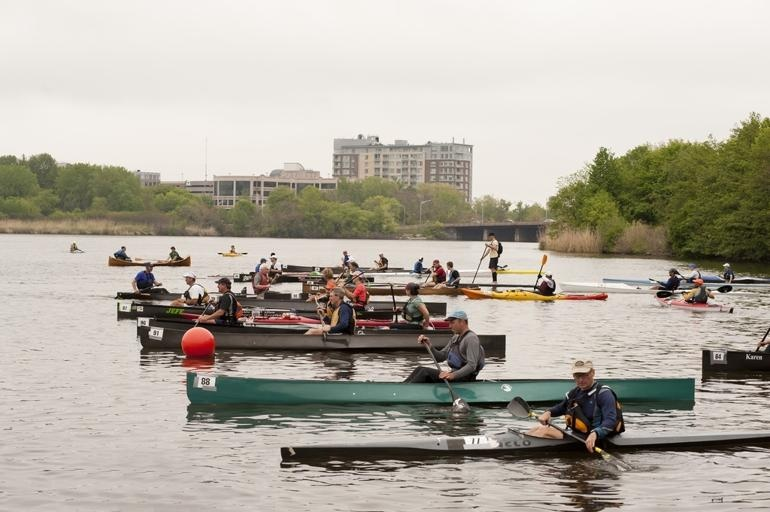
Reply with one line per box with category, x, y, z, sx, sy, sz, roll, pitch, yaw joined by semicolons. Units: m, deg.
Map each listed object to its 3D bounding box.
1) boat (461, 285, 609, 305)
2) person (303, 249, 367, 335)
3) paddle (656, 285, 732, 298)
boat;6.685;1.769;63.112;5.582;0.502;0.903;0;4;-3
person;-1.904;1.912;48.603;1.352;1.702;1.162;4;2;40
paddle;13.973;1.589;62.470;2.328;0.338;0.441;-4;2;-16
